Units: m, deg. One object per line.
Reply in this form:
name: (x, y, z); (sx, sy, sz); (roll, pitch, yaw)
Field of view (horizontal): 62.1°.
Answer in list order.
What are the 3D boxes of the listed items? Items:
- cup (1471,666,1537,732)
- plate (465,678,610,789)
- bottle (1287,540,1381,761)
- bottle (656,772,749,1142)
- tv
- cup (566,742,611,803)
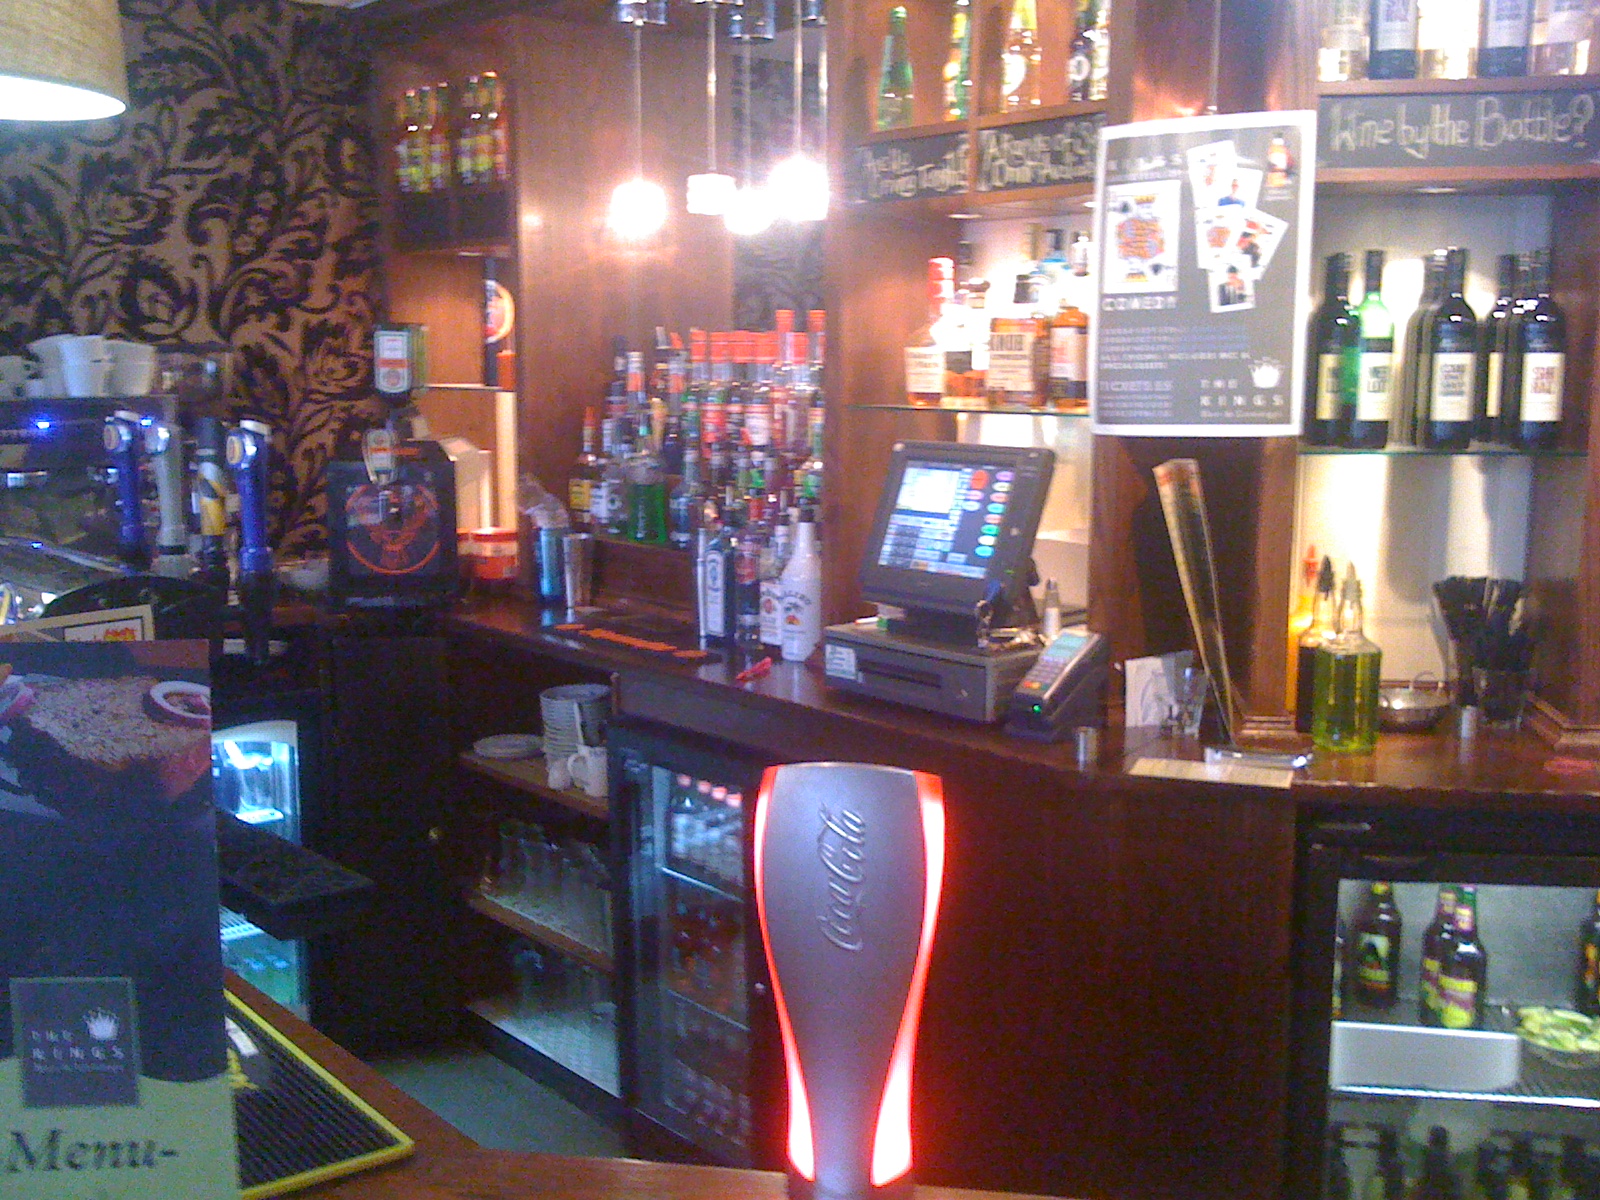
cup: (1.399, 0.195, 2.668); (0.118, 0.121, 0.111); (-1, 4, 0)
plate: (-0.712, 0.361, 3.672); (0.431, 0.207, 0.246); (3, 6, 14)
bottle: (1.093, 0.101, 2.695); (0.162, 0.359, 0.314); (5, 8, 23)
bottle: (-0.234, 0.890, 3.260); (0.118, 0.889, 0.349); (-3, 8, -32)
tv: (0.343, -0.118, 2.899); (0.233, 0.403, 0.418); (3, 8, -43)
cup: (-0.560, 0.456, 3.525); (0.158, 0.147, 0.097); (-1, 5, -10)
